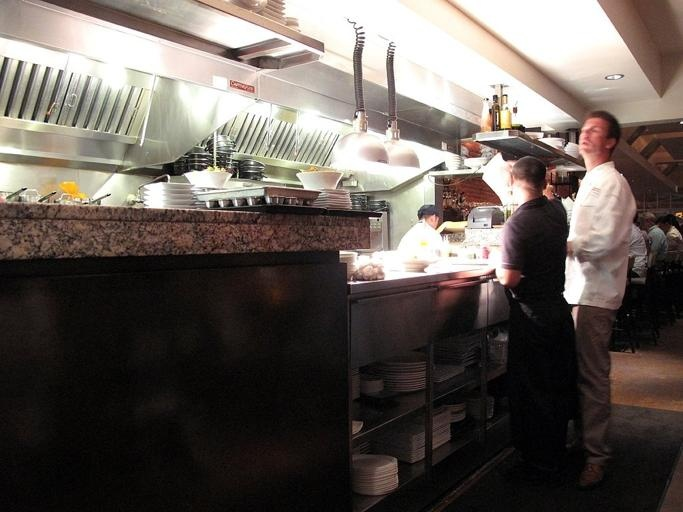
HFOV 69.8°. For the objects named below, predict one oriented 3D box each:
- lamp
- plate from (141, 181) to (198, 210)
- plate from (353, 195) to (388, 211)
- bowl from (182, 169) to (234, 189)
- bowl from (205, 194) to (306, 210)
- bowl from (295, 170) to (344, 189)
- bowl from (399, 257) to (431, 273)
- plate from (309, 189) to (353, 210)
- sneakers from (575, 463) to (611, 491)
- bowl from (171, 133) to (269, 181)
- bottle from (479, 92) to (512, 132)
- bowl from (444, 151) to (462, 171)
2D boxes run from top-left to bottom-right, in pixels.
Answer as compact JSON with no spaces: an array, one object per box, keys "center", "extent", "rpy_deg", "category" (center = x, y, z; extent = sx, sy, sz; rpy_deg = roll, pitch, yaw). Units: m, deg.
[{"center":[0.213,-1.182,3.327],"extent":[0.545,1.198,0.986],"rpy_deg":[-3,3,7],"category":"lamp"},{"center":[-0.670,-0.229,1.873],"extent":[0.218,0.093,0.162],"rpy_deg":[-3,3,-4],"category":"plate"},{"center":[0.282,-0.571,5.327],"extent":[0.442,0.139,0.319],"rpy_deg":[0,1,4],"category":"plate"},{"center":[-0.550,-0.312,2.016],"extent":[0.164,0.089,0.206],"rpy_deg":[-3,3,-18],"category":"bowl"},{"center":[-0.327,-0.205,1.881],"extent":[0.416,0.044,0.139],"rpy_deg":[-3,2,-9],"category":"bowl"},{"center":[-0.086,-0.328,2.126],"extent":[0.134,0.042,0.124],"rpy_deg":[-1,2,0],"category":"bowl"},{"center":[0.460,0.055,2.982],"extent":[0.158,0.090,0.139],"rpy_deg":[-5,3,-38],"category":"bowl"},{"center":[-0.044,-0.228,2.113],"extent":[0.116,0.045,0.118],"rpy_deg":[1,2,38],"category":"plate"},{"center":[1.435,1.276,2.811],"extent":[0.085,0.073,0.234],"rpy_deg":[-8,-13,37],"category":"sneakers"},{"center":[-0.955,-0.762,3.821],"extent":[0.754,0.331,0.331],"rpy_deg":[-5,3,-43],"category":"bowl"},{"center":[1.410,-1.313,4.464],"extent":[0.257,0.424,0.553],"rpy_deg":[-2,3,17],"category":"bottle"},{"center":[1.233,-1.044,5.414],"extent":[0.217,0.214,0.217],"rpy_deg":[-2,6,0],"category":"bowl"}]
